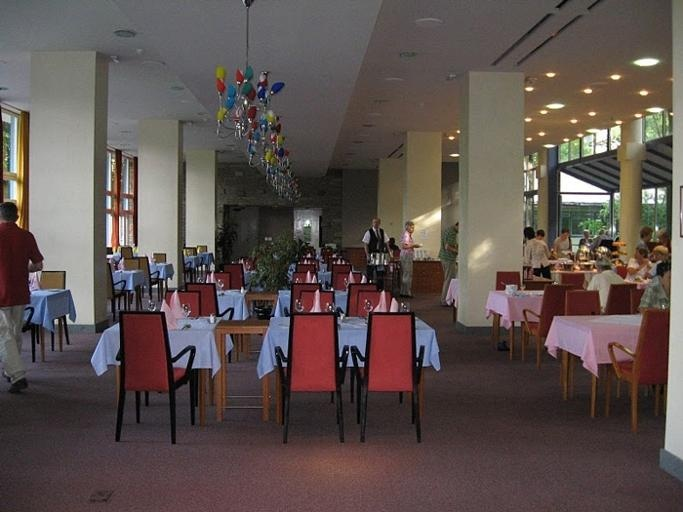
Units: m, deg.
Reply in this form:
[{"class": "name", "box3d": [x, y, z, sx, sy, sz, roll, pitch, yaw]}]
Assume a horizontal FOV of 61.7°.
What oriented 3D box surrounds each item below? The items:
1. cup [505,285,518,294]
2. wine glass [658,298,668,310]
[{"class": "cup", "box3d": [2.619, 0.508, 8.828, 0.107, 0.122, 0.155, -1, -8, 18]}, {"class": "wine glass", "box3d": [3.537, 0.517, 6.278, 0.079, 0.045, 0.123, 0, 13, 15]}]
